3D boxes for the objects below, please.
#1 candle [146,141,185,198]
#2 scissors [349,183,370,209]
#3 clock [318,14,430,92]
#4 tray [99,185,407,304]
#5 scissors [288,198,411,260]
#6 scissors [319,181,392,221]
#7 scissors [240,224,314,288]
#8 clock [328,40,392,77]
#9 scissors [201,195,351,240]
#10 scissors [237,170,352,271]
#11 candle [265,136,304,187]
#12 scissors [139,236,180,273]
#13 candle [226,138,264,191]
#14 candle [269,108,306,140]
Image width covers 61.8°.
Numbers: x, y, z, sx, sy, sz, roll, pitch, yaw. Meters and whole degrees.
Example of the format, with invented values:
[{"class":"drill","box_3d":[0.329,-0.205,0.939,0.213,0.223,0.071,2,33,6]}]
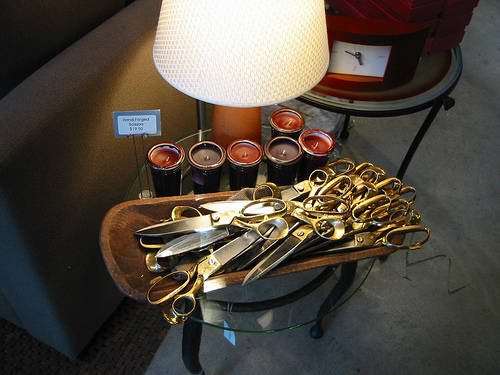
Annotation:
[{"class":"candle","box_3d":[-0.195,-0.013,0.891,0.068,0.070,0.109,-37,54,32]},{"class":"scissors","box_3d":[0.218,0.021,0.845,0.028,0.020,0.050,35,94,27]},{"class":"clock","box_3d":[0.287,-0.321,0.992,0.264,0.168,0.086,5,49,5]},{"class":"tray","box_3d":[0.038,0.127,0.911,0.655,0.094,0.242,-9,62,-14]},{"class":"scissors","box_3d":[0.220,0.082,0.871,0.297,0.026,0.098,-21,64,-9]},{"class":"scissors","box_3d":[0.206,0.039,0.815,0.124,0.034,0.072,-23,57,-16]},{"class":"scissors","box_3d":[0.045,0.123,0.783,0.175,0.014,0.025,-39,58,-22]},{"class":"clock","box_3d":[0.266,-0.314,1.004,0.145,0.111,0.016,6,46,6]},{"class":"scissors","box_3d":[0.044,0.070,0.841,0.310,0.038,0.108,2,50,1]},{"class":"scissors","box_3d":[0.107,0.060,0.874,0.326,0.037,0.112,-39,56,-25]},{"class":"candle","box_3d":[0.074,-0.059,0.902,0.059,0.083,0.061,18,56,13]},{"class":"scissors","box_3d":[-0.175,0.123,0.801,0.062,0.019,0.063,1,33,-16]},{"class":"candle","box_3d":[-0.020,-0.035,0.921,0.070,0.096,0.069,14,45,9]},{"class":"candle","box_3d":[0.080,-0.148,0.982,0.073,0.080,0.074,21,64,10]}]
